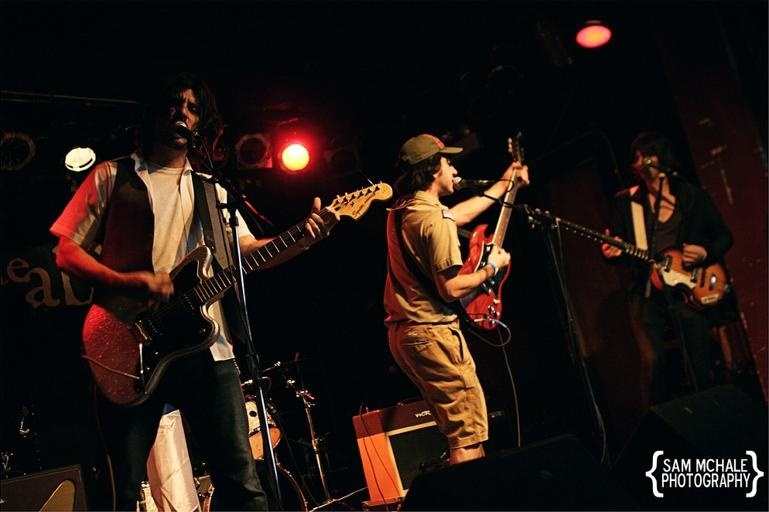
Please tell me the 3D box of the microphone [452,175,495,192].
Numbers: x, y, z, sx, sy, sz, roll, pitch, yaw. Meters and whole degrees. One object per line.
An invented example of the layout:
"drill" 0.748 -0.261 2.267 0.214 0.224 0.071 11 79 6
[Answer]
"microphone" 0.772 -0.589 4.996 0.467 0.129 0.120 -1 11 -27

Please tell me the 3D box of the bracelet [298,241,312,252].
"bracelet" -0.583 -0.074 4.299 0.114 0.084 0.029 -13 16 18

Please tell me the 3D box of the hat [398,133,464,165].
"hat" 0.339 -0.867 4.914 0.406 0.165 0.261 -14 16 2

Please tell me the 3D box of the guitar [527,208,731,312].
"guitar" 2.382 0.111 5.164 1.205 0.689 0.262 -2 -25 -22

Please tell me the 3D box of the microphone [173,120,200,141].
"microphone" -1.271 -0.796 3.876 0.178 0.083 0.250 27 9 -26

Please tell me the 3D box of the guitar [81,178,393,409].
"guitar" -1.166 0.271 4.037 1.702 1.214 0.298 -9 -23 -6

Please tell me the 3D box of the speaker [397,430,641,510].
"speaker" 0.652 1.159 3.038 1.151 0.400 0.155 -8 -23 -10
